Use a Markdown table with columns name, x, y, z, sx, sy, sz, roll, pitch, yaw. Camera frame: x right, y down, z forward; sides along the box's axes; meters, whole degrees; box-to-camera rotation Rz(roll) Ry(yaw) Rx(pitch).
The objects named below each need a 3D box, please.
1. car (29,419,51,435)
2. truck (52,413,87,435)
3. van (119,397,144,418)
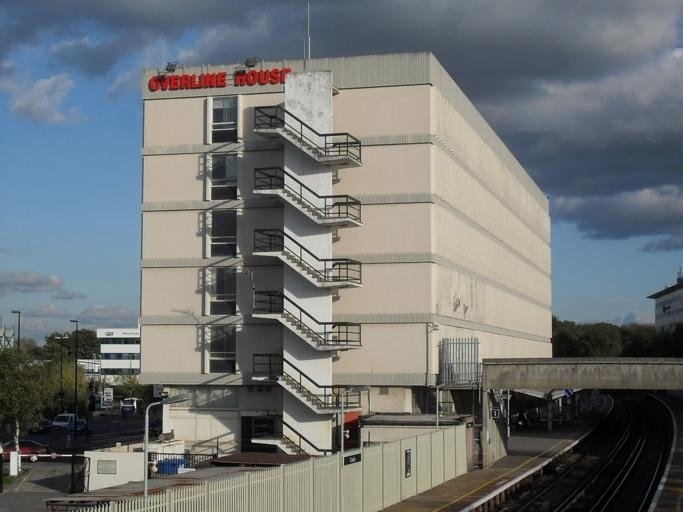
| name | x | y | z | sx | sy | sz | roll | pitch | yaw |
| --- | --- | --- | --- | --- | --- | --- | --- | --- | --- |
| car | -31.675 | 17.852 | 123.804 | 2.201 | 1.492 | 3.609 | -2 | -13 | 0 |
| truck | -28.880 | 17.470 | 125.588 | 2.666 | 2.461 | 4.538 | 0 | -19 | 4 |
| van | -28.470 | 20.385 | 159.155 | 1.791 | 1.678 | 3.037 | 0 | 0 | 11 |
